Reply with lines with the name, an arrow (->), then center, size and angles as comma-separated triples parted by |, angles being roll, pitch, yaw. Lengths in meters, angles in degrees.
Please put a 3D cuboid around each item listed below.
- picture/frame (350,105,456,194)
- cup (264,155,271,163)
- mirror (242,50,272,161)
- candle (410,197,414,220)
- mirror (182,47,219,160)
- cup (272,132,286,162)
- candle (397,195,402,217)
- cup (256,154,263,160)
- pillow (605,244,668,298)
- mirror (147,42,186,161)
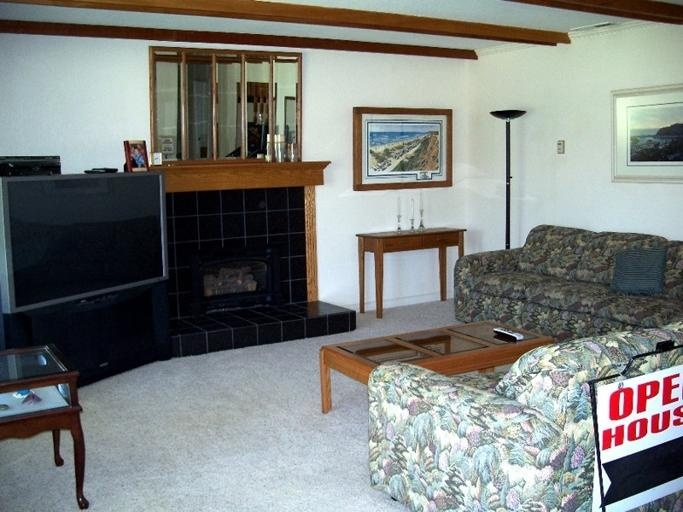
picture/frame -> 0.689, -1.298, 6.283 | 1.425, 0.796, 0.056 | -3, 8, -25
cup -> -0.776, -1.026, 5.548 | 0.082, 0.073, 0.073 | 2, 3, 7
mirror -> -0.872, -1.552, 5.475 | 0.392, 1.030, 0.125 | -5, 12, -15
candle -> 0.877, -0.588, 6.444 | 0.074, 0.259, 0.077 | -2, 11, 3
mirror -> -1.418, -1.488, 5.196 | 0.405, 1.034, 0.065 | -8, 13, -29
cup -> -0.665, -1.158, 5.613 | 0.087, 0.291, 0.140 | 2, 12, 22
candle -> 0.713, -0.617, 6.380 | 0.056, 0.220, 0.064 | -2, 11, 2
cup -> -0.868, -1.048, 5.528 | 0.082, 0.063, 0.053 | 0, 11, -7
pillow -> 2.520, 0.137, 4.398 | 0.472, 0.388, 0.136 | 2, -15, 30
mirror -> -1.693, -1.470, 5.082 | 0.380, 1.079, 0.113 | -5, 12, -12
